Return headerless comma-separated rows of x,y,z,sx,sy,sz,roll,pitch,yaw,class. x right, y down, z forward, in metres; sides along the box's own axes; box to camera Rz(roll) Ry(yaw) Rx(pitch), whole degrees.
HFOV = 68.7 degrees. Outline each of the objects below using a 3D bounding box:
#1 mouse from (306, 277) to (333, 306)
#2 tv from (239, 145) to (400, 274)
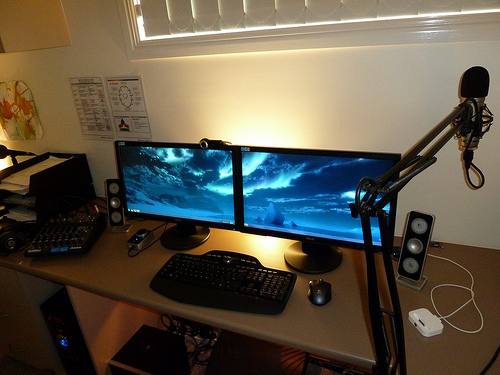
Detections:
0.288,0.429,1.513,0.096,0.075,0.101,1,19,13,mouse
0.283,0.088,1.530,0.473,0.388,0.210,5,19,20,tv
